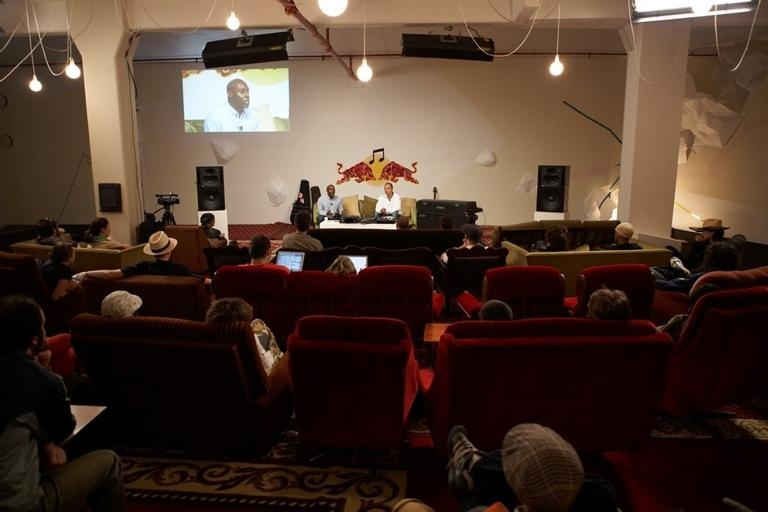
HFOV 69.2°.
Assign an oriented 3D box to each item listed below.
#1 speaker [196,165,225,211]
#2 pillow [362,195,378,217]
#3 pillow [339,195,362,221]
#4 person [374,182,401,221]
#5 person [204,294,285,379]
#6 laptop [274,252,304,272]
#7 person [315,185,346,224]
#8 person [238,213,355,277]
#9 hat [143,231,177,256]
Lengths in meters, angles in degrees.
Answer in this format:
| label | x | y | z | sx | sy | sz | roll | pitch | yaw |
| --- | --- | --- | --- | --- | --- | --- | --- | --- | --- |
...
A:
| label | x | y | z | sx | sy | sz | roll | pitch | yaw |
| --- | --- | --- | --- | --- | --- | --- | --- | --- | --- |
| speaker | -3.247 | -1.336 | 10.441 | 0.496 | 0.893 | 0.478 | -5 | 30 | -22 |
| pillow | -0.365 | -1.073 | 12.213 | 0.390 | 0.443 | 0.126 | -6 | -3 | 18 |
| pillow | -0.708 | -0.995 | 11.762 | 0.466 | 0.576 | 0.285 | 13 | -13 | 6 |
| person | 0.083 | -1.079 | 11.770 | 0.574 | 0.958 | 0.559 | -5 | 10 | -16 |
| person | -1.116 | 0.604 | 4.706 | 0.500 | 0.772 | 0.735 | 4 | 21 | 14 |
| laptop | -1.131 | 0.054 | 6.674 | 0.292 | 0.313 | 0.251 | 3 | 14 | 8 |
| person | -1.127 | -0.967 | 11.762 | 0.685 | 1.037 | 0.597 | -8 | 13 | -43 |
| person | -1.163 | -0.164 | 7.685 | 0.954 | 0.692 | 0.334 | 2 | 17 | 0 |
| hat | -2.515 | -0.089 | 6.404 | 0.287 | 0.131 | 0.342 | 21 | 46 | 14 |
